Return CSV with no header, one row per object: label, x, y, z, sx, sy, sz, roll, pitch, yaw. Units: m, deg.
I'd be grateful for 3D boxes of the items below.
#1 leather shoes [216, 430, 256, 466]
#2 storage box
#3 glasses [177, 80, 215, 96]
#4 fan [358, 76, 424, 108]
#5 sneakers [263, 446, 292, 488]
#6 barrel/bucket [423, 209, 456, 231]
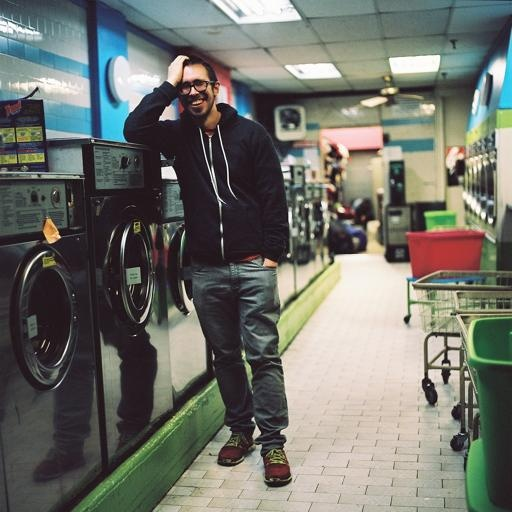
leather shoes,-0.100,0.977,2.518,0.087,0.106,0.244,9,3,18
storage box,1.764,0.000,4.547,0.544,0.407,0.424,-1,0,13
glasses,-0.256,-0.736,2.136,0.152,0.067,0.072,-2,3,4
fan,2.699,-3.306,9.737,0.892,0.487,1.066,-1,4,-3
sneakers,0.095,0.974,2.238,0.075,0.086,0.199,-1,-2,0
barrel/bucket,2.798,-0.546,7.457,0.555,0.473,0.404,0,2,8
